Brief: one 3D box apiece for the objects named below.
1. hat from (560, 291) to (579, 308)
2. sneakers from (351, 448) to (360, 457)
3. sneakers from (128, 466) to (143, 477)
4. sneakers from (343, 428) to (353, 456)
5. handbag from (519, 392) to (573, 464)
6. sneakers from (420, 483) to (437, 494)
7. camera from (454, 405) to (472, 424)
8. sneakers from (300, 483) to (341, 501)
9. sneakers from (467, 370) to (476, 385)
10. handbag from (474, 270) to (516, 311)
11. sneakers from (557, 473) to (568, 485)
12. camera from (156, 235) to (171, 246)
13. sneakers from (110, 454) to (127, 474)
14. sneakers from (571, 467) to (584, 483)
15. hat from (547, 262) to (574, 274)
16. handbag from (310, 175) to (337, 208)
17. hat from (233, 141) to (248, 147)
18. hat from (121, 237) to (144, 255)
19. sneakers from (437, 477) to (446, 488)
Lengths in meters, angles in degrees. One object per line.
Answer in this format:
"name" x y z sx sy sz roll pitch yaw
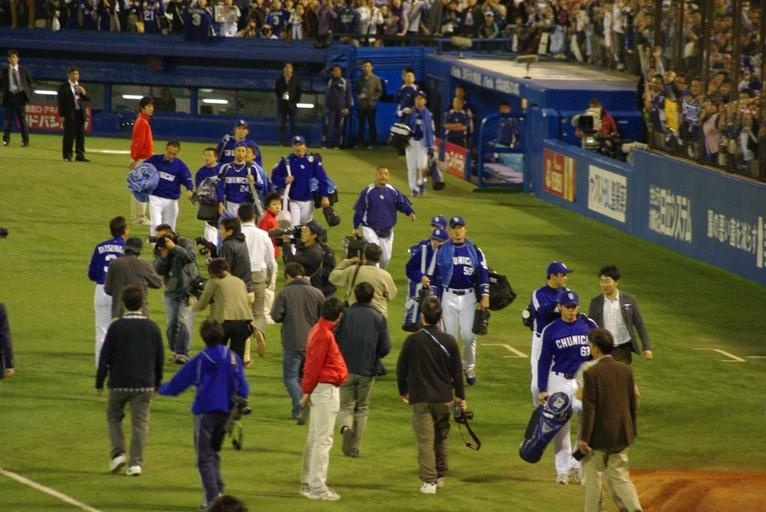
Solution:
"hat" 2.931 0.680 25.218 0.281 0.234 0.304 0 8 -22
"sneakers" -0.465 3.217 25.854 0.105 0.101 0.164 2 -8 -4
"sneakers" -3.901 3.379 24.868 0.124 0.108 0.246 1 9 -11
"sneakers" -0.597 3.001 25.566 0.163 0.413 0.188 -3 14 -2
"handbag" 2.531 2.738 25.096 0.795 1.230 0.275 7 9 29
"sneakers" 0.692 3.660 24.892 0.133 0.128 0.268 -1 9 -13
"camera" 1.224 2.502 25.081 0.349 0.219 0.232 1 1 1
"sneakers" -0.998 3.666 24.584 0.456 0.136 0.294 1 8 -2
"sneakers" 1.552 2.180 28.464 0.125 0.118 0.311 -3 33 -3
"handbag" 2.030 0.619 27.834 0.497 0.666 0.323 6 9 20
"sneakers" 2.843 3.573 25.338 0.185 0.127 0.170 0 4 4
"camera" -3.827 -0.267 27.474 0.163 0.157 0.164 -7 -5 -11
"sneakers" -4.160 3.276 24.953 0.234 0.343 0.234 1 8 -13
"sneakers" 3.059 3.511 25.386 0.115 0.263 0.252 -4 10 -39
"hat" 2.858 0.218 26.176 0.338 0.157 0.222 -1 7 6
"handbag" -1.251 -1.308 32.346 0.646 0.558 0.259 2 -10 -14
"hat" -2.843 -2.236 31.779 0.225 0.175 0.254 -1 -2 -5
"hat" -4.224 -0.170 26.936 0.281 0.187 0.341 8 -1 3
"sneakers" 0.891 3.586 25.113 0.176 0.240 0.160 2 -5 0
